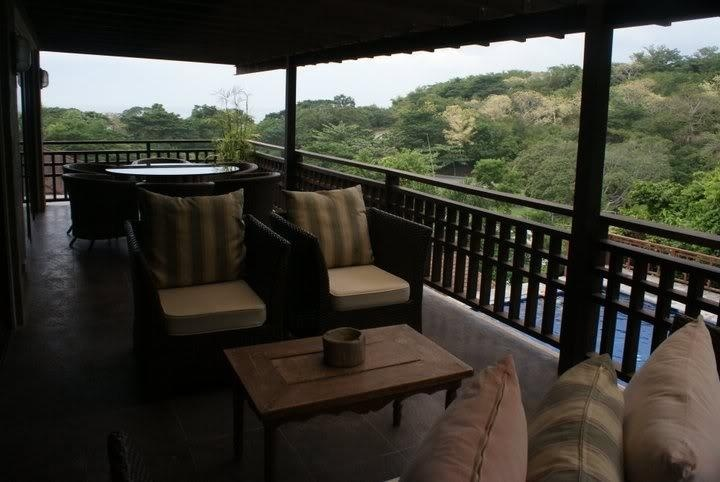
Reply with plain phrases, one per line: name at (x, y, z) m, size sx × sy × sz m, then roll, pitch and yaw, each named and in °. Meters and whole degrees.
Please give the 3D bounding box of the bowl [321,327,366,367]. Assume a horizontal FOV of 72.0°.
bowl at (-0.079, 0.511, 2.420) m, size 0.204 × 0.122 × 0.205 m, roll -1°, pitch 13°, yaw 0°

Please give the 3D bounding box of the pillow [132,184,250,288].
pillow at (-1.127, -0.006, 3.302) m, size 0.921 × 0.827 × 0.304 m, roll -3°, pitch 2°, yaw -25°

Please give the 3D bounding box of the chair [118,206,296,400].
chair at (-1.067, 0.343, 3.386) m, size 1.062 × 0.912 × 1.066 m, roll -4°, pitch 9°, yaw -23°

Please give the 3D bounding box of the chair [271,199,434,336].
chair at (-0.134, 0.115, 3.745) m, size 0.979 × 0.773 × 0.961 m, roll -2°, pitch 8°, yaw -21°
